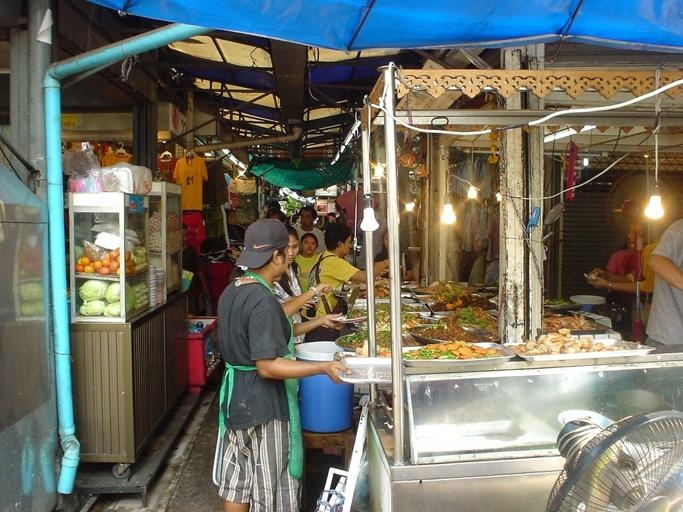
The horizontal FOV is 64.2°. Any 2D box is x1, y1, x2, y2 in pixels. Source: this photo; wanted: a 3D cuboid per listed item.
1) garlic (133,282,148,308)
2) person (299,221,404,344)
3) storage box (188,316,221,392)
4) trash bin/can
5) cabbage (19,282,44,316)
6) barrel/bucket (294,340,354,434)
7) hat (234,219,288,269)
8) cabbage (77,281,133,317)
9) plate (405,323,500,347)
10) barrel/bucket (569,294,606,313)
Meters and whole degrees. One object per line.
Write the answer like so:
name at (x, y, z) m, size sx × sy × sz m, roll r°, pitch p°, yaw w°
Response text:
garlic at (-1.740, 0.336, 4.688) m, size 0.111 × 0.146 × 0.052 m, roll 3°, pitch 3°, yaw -43°
person at (0.115, 0.444, 5.435) m, size 0.853 × 1.529 × 0.645 m, roll -2°, pitch 14°, yaw 10°
storage box at (-1.589, 1.119, 6.202) m, size 0.428 × 0.588 × 1.227 m, roll -1°, pitch 1°, yaw -4°
trash bin/can at (-0.116, 0.928, 3.921) m, size 0.568 × 0.598 × 0.561 m, roll -1°, pitch 0°, yaw -3°
cabbage at (-2.086, 0.290, 3.646) m, size 0.058 × 0.238 × 0.341 m, roll -1°, pitch 1°, yaw -14°
barrel/bucket at (-0.107, 0.925, 3.920) m, size 0.567 × 0.597 × 0.561 m, roll -1°, pitch 0°, yaw 0°
hat at (-0.469, -0.088, 3.213) m, size 0.214 × 0.176 × 0.337 m, roll 17°, pitch 43°, yaw 25°
cabbage at (-1.891, 0.336, 4.249) m, size 0.337 × 0.287 × 0.120 m, roll -1°, pitch 1°, yaw -15°
plate at (0.802, 0.575, 3.897) m, size 0.636 × 0.126 × 0.572 m, roll 0°, pitch 1°, yaw 8°
barrel/bucket at (2.383, 0.444, 5.219) m, size 0.250 × 0.087 × 0.250 m, roll -3°, pitch 5°, yaw 0°
